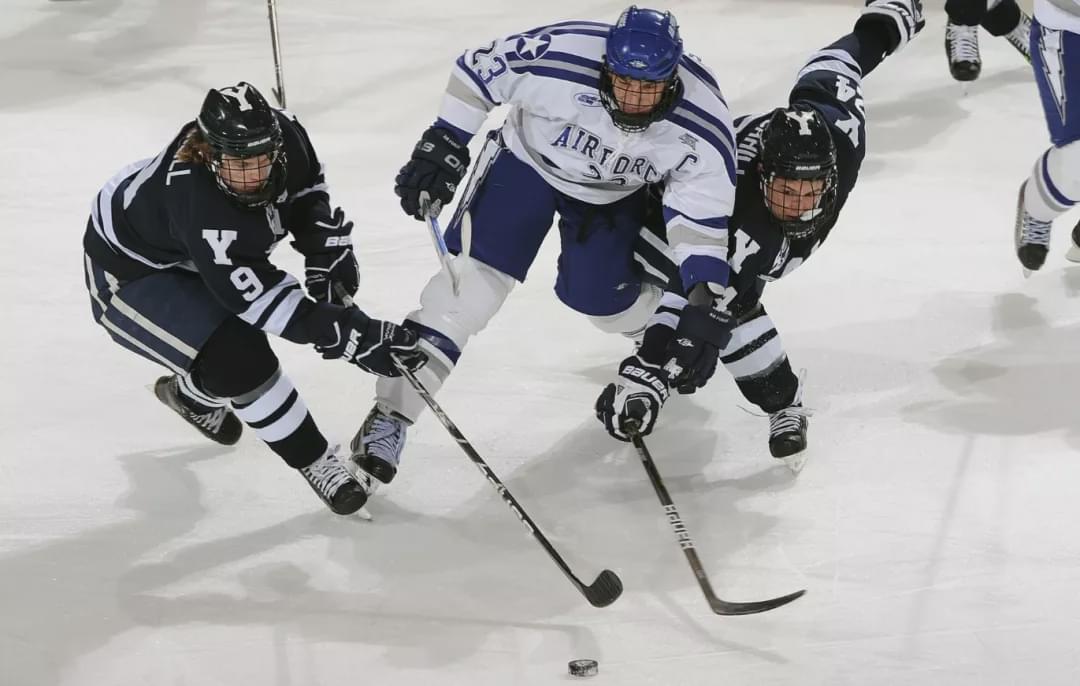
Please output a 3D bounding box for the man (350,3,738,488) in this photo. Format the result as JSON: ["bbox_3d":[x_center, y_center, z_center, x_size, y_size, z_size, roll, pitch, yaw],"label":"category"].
[{"bbox_3d":[0.008,-0.362,5.606,1.516,2.331,1.757,26,48,-9],"label":"man"}]

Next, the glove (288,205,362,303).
[{"bbox_3d":[-1.036,-0.431,5.522,0.316,0.473,0.200,-19,17,-41],"label":"glove"}]

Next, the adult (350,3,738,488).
[{"bbox_3d":[0.008,-0.362,5.606,1.516,2.331,1.757,26,48,-9],"label":"adult"}]

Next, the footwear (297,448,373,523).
[{"bbox_3d":[-0.911,0.669,5.187,0.174,0.196,0.495,-46,49,1],"label":"footwear"}]

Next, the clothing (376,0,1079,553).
[{"bbox_3d":[0.951,-0.486,5.815,2.608,1.784,0.923,-45,17,-13],"label":"clothing"}]

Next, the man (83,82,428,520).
[{"bbox_3d":[-1.384,-0.262,5.404,1.724,2.170,1.073,32,46,22],"label":"man"}]

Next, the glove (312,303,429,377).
[{"bbox_3d":[-0.795,-0.010,5.142,0.493,0.144,0.272,22,64,-10],"label":"glove"}]

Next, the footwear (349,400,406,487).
[{"bbox_3d":[-0.775,0.449,5.329,0.227,0.171,0.476,-46,22,8],"label":"footwear"}]

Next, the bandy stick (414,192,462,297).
[{"bbox_3d":[-0.481,-0.478,5.365,0.146,0.531,0.088,-28,-17,39],"label":"bandy stick"}]

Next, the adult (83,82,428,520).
[{"bbox_3d":[-1.388,-0.106,5.452,1.622,1.996,0.977,19,50,7],"label":"adult"}]

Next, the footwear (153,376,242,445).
[{"bbox_3d":[-1.633,0.326,5.408,0.120,0.328,0.159,-45,16,2],"label":"footwear"}]
